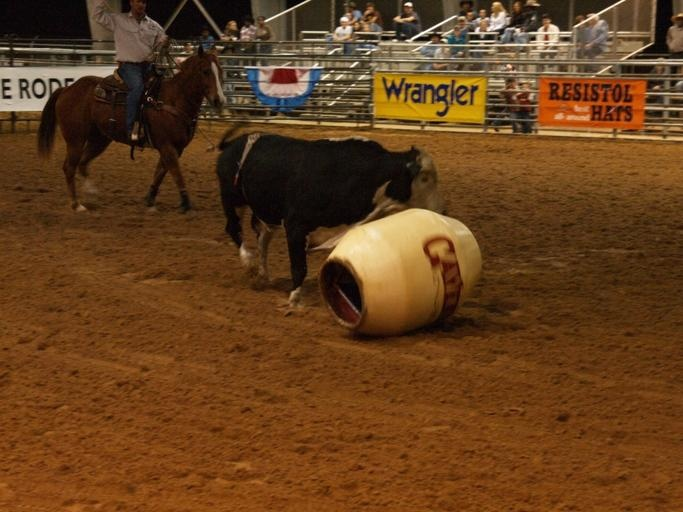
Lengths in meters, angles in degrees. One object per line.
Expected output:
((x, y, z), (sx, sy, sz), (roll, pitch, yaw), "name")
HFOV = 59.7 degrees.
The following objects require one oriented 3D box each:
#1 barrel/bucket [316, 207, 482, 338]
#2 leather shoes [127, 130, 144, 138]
((0.500, 0.156, 5.511), (1.627, 0.780, 0.886), (-9, -26, -26), "barrel/bucket")
((-3.241, -1.933, 9.545), (0.215, 0.070, 0.238), (-3, -5, -30), "leather shoes")
